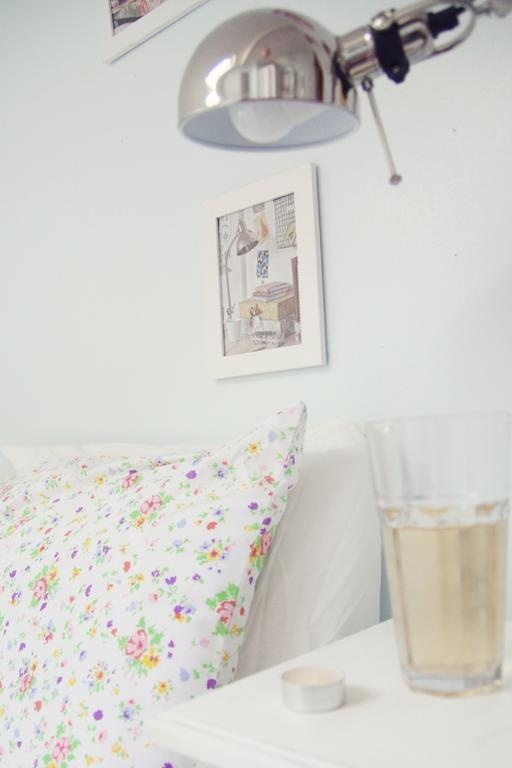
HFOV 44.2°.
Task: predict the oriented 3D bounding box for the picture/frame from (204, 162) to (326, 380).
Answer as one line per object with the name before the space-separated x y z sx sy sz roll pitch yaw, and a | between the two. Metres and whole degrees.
picture/frame | 0.025 -0.206 1.170 0.033 0.343 0.403 -3 8 -36

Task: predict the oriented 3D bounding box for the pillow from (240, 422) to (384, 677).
pillow | 0.146 0.251 0.929 0.120 0.296 0.286 23 -30 -32
